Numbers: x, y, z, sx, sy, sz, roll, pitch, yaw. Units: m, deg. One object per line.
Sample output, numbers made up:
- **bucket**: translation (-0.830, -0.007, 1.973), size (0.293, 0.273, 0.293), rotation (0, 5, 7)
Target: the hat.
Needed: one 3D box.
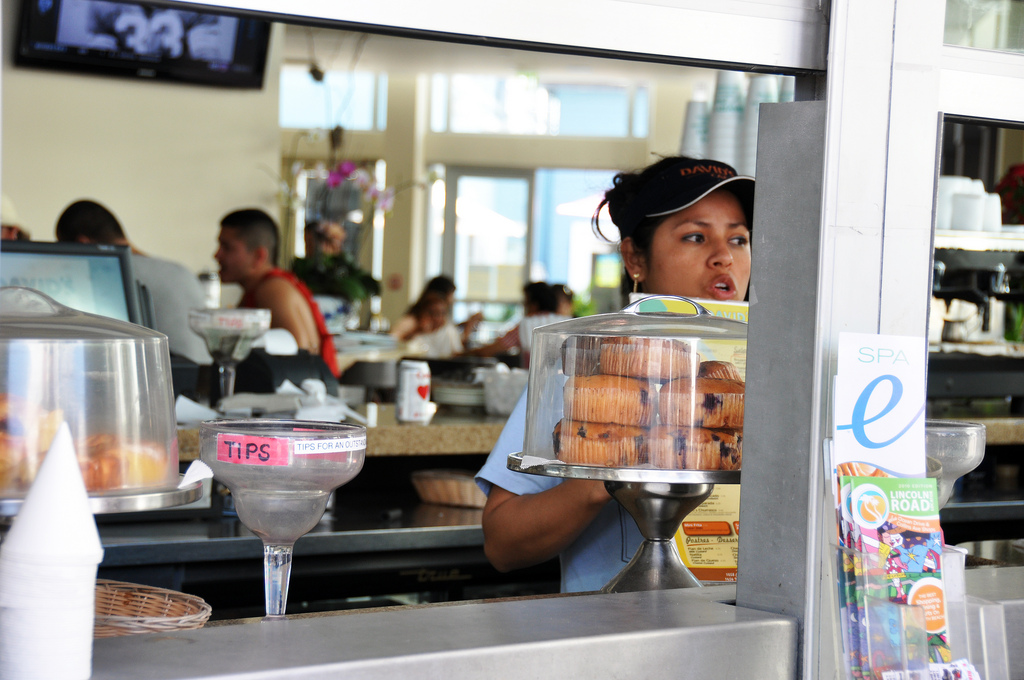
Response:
- **hat**: translation (0.339, -0.277, 1.986), size (0.145, 0.064, 0.196), rotation (-12, -3, -35)

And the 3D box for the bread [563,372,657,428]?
- **bread**: translation (0.131, 0.079, 1.432), size (0.120, 0.065, 0.037), rotation (3, 4, 30)

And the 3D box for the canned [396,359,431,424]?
- **canned**: translation (-0.285, 0.150, 3.100), size (0.097, 0.172, 0.191), rotation (1, 4, -6)

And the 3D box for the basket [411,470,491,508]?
- **basket**: translation (-0.174, 0.408, 2.929), size (0.218, 0.080, 0.218), rotation (1, -6, 28)

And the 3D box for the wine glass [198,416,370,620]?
- **wine glass**: translation (-0.301, 0.231, 1.365), size (0.196, 0.242, 0.081), rotation (2, 4, 10)

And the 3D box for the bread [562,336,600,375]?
- **bread**: translation (0.098, 0.021, 1.480), size (0.054, 0.050, 0.053), rotation (1, -4, -8)

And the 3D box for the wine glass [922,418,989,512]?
- **wine glass**: translation (0.607, 0.170, 1.455), size (0.116, 0.122, 0.113), rotation (1, 2, -5)

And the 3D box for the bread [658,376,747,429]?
- **bread**: translation (0.259, 0.075, 1.428), size (0.083, 0.040, 0.087), rotation (-1, -2, 25)

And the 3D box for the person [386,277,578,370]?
- **person**: translation (-0.111, -0.097, 6.652), size (0.983, 0.361, 0.499), rotation (-6, -7, 19)
